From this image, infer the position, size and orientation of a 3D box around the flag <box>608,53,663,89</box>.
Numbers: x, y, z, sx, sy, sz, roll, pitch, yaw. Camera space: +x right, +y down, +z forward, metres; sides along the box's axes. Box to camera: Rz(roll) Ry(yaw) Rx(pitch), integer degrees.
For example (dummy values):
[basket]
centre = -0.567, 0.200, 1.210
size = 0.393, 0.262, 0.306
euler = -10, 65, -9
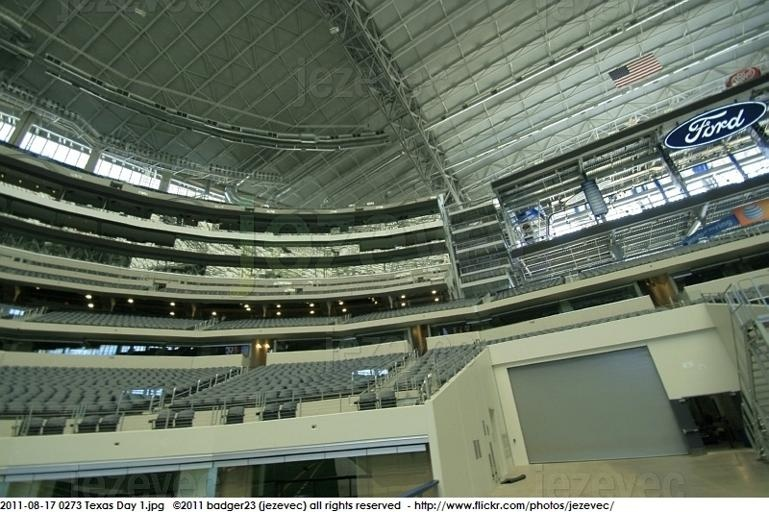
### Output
[flag]
centre = 16.333, -12.101, 34.939
size = 3.328, 1.799, 0.711
euler = -15, 4, 19
